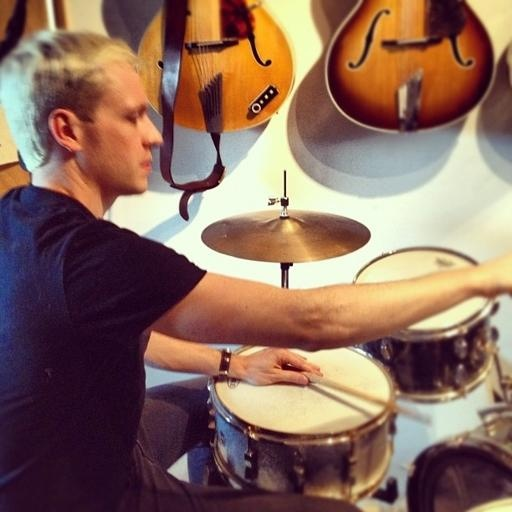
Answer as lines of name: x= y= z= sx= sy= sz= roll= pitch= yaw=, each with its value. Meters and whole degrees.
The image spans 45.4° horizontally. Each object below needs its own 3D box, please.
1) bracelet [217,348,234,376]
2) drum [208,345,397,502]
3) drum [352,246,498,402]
bracelet: x=-0.084 y=0.291 z=1.705 sx=0.045 sy=0.057 sz=0.051 roll=6 pitch=18 yaw=-2
drum: x=0.127 y=0.427 z=1.526 sx=0.320 sy=0.166 sz=0.361 roll=1 pitch=16 yaw=-7
drum: x=0.492 y=0.223 z=1.890 sx=0.400 sy=0.310 sz=0.408 roll=-22 pitch=32 yaw=15
